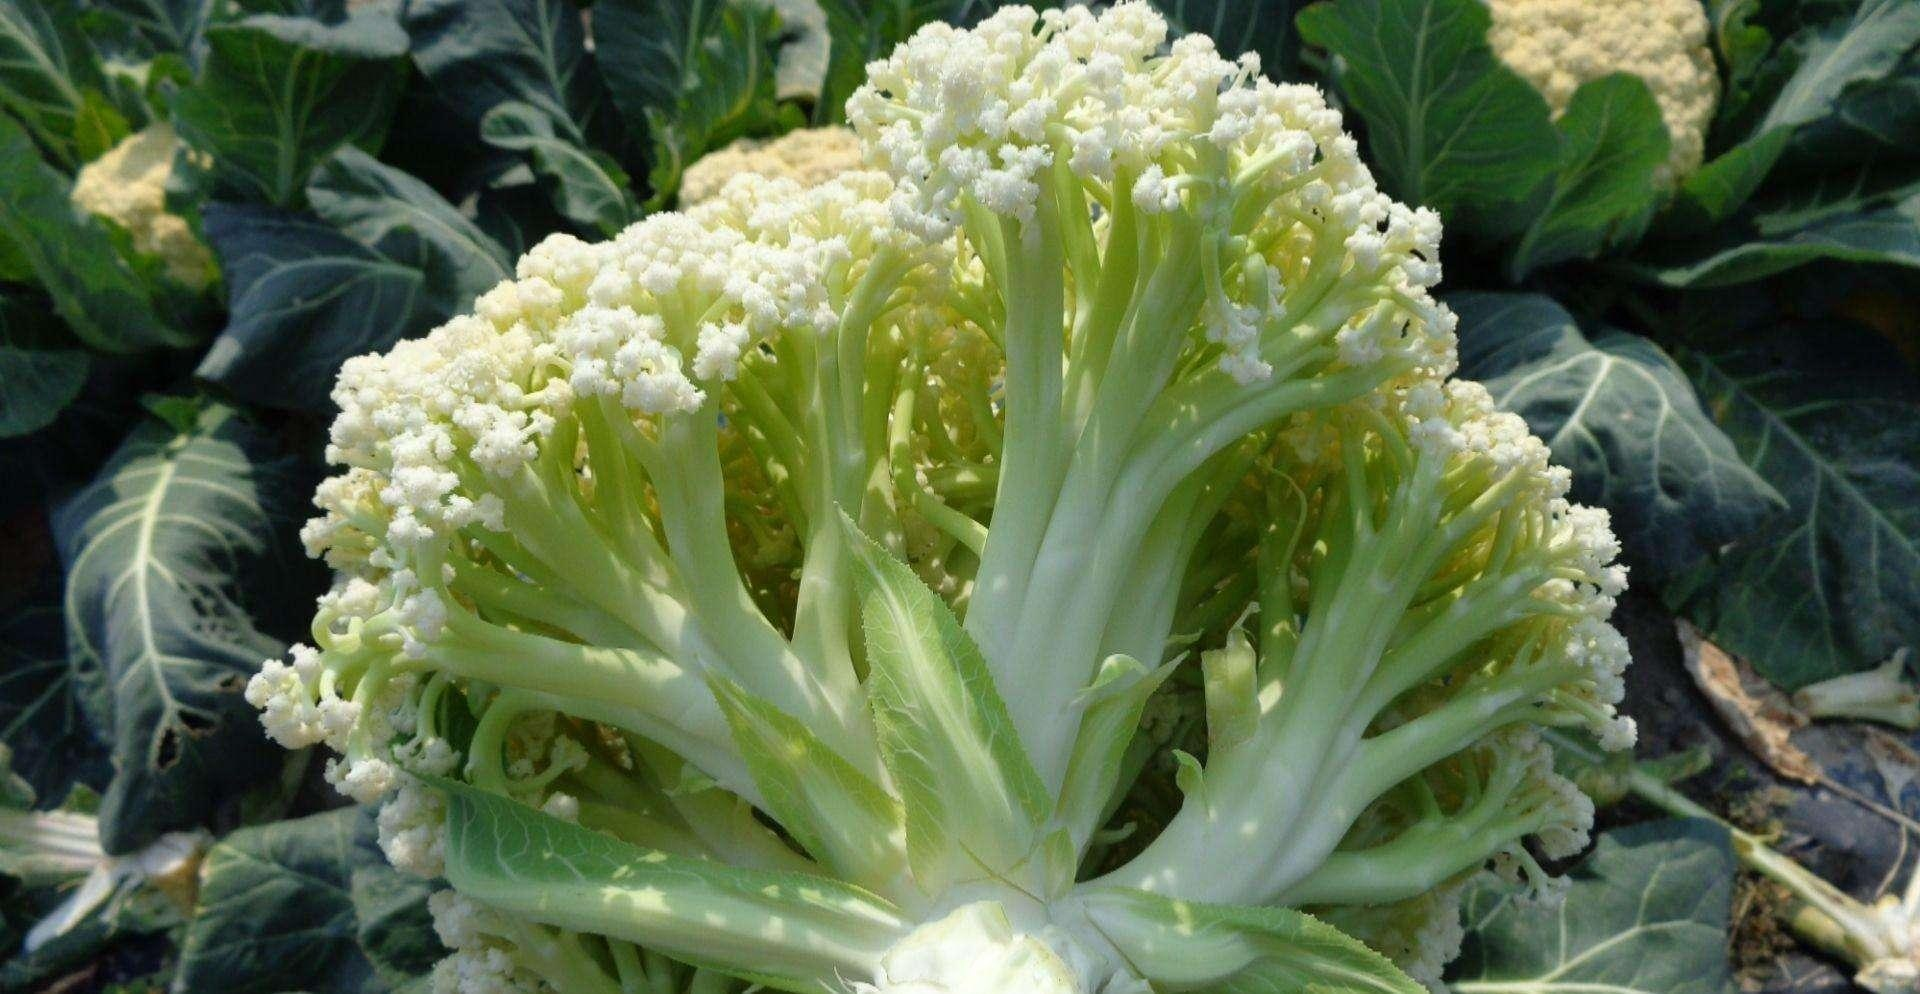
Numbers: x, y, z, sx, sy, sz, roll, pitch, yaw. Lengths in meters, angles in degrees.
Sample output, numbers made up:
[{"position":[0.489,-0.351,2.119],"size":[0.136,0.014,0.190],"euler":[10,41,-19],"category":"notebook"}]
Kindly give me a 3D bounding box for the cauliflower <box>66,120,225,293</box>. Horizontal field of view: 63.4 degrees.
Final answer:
[{"position":[-2.156,-0.764,4.156],"size":[0.135,0.413,0.396],"euler":[-32,76,17],"category":"cauliflower"}]
